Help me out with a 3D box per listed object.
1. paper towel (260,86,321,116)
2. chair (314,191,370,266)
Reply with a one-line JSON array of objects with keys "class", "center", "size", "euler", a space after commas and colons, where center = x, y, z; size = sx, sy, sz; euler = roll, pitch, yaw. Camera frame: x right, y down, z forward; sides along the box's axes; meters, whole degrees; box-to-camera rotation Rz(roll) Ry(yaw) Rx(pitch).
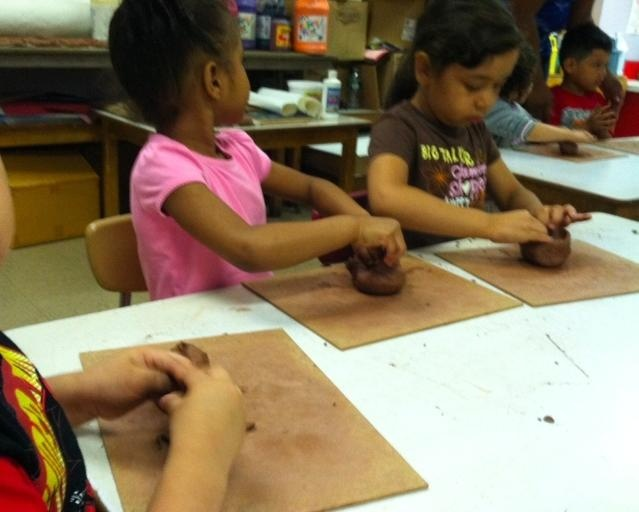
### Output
[{"class": "paper towel", "center": [-0.150, -0.780, 2.642], "size": [0.343, 0.089, 0.097], "euler": [23, 58, 32]}, {"class": "chair", "center": [0.045, -0.060, 1.170], "size": [0.118, 0.163, 0.130], "euler": [-12, 25, -22]}]
